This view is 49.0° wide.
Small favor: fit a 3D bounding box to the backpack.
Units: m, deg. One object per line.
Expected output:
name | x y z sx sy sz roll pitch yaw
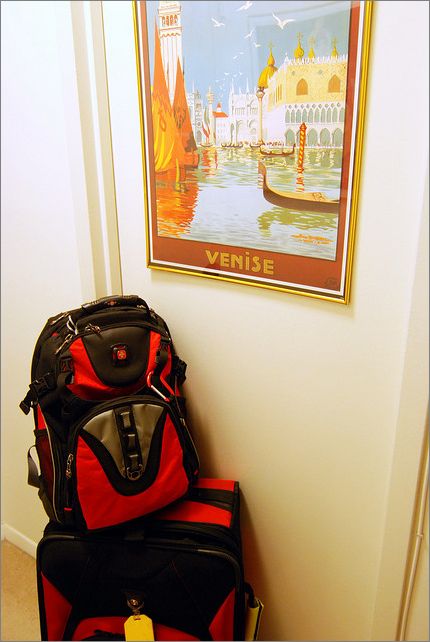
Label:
backpack | -0.218 0.196 1.084 0.304 0.494 0.375 9 16 43
